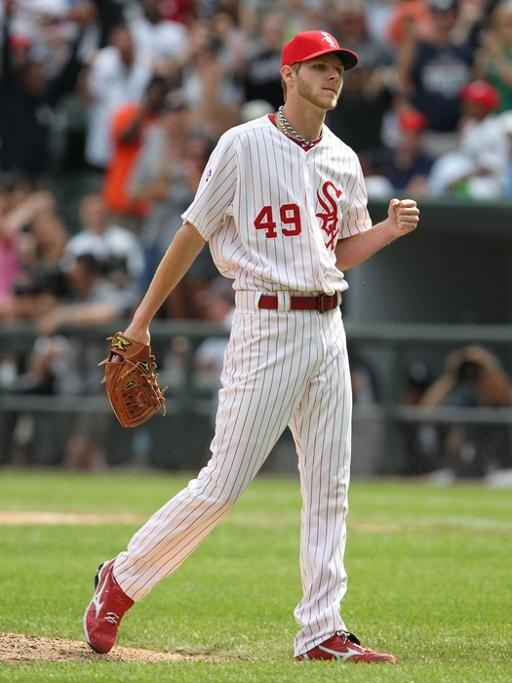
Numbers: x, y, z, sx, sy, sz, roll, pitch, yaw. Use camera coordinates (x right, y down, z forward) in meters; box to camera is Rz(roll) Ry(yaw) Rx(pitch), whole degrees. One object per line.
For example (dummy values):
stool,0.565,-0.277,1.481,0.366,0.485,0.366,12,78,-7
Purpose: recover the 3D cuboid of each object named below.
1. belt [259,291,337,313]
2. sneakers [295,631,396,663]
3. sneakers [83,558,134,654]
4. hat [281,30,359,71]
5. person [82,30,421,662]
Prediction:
belt,0.104,-0.099,2.560,0.198,0.050,0.035,2,0,-18
sneakers,0.223,0.759,2.555,0.266,0.079,0.086,-1,-5,3
sneakers,-0.364,0.679,2.695,0.133,0.264,0.100,-16,-36,30
hat,0.164,-0.746,2.637,0.161,0.068,0.121,1,4,45
person,0.001,0.003,2.695,0.806,1.610,0.383,2,0,8
